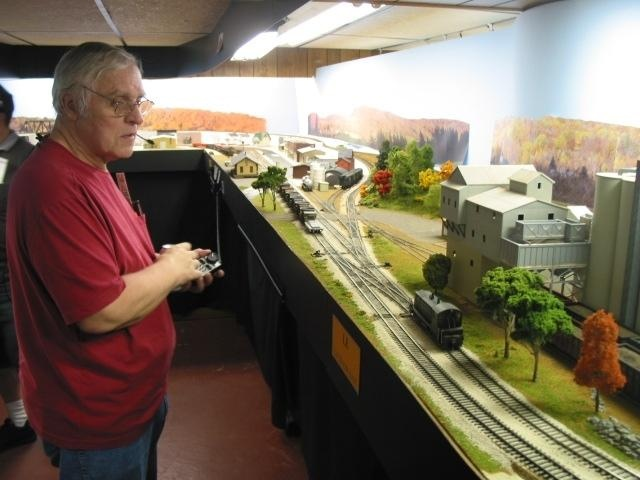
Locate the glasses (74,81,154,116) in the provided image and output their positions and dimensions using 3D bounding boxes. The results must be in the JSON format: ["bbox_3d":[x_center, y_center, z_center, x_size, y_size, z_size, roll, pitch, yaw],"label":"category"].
[{"bbox_3d":[-0.786,-0.506,1.644,0.150,0.047,0.146,35,21,14],"label":"glasses"}]
